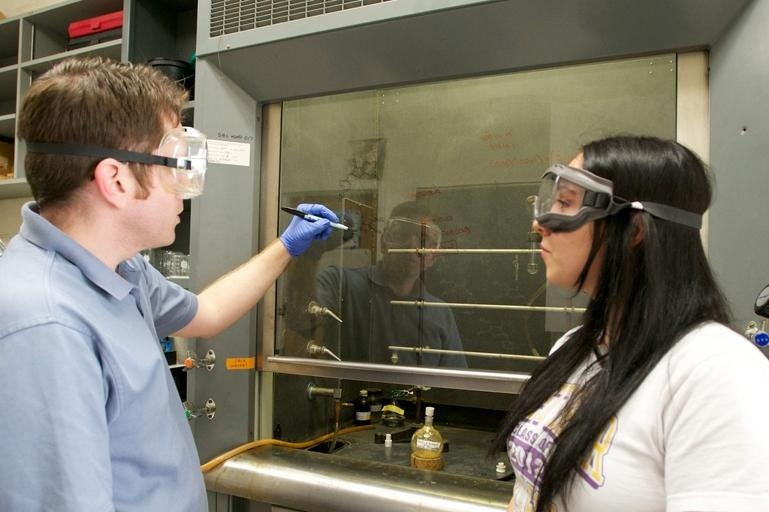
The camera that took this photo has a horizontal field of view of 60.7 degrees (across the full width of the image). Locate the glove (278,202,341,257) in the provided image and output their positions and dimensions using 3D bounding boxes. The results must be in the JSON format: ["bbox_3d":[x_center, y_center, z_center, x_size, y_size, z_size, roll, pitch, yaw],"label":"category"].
[{"bbox_3d":[-0.278,-0.102,2.489,0.168,0.230,0.169,24,23,-6],"label":"glove"}]

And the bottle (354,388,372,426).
[{"bbox_3d":[-0.108,0.730,3.179,0.081,0.168,0.046,4,3,29],"label":"bottle"}]

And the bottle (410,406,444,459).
[{"bbox_3d":[0.184,0.748,2.757,0.142,0.208,0.144,4,-11,1],"label":"bottle"}]

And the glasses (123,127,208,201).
[{"bbox_3d":[-0.621,-0.292,1.915,0.231,0.220,0.191,14,16,16],"label":"glasses"}]
